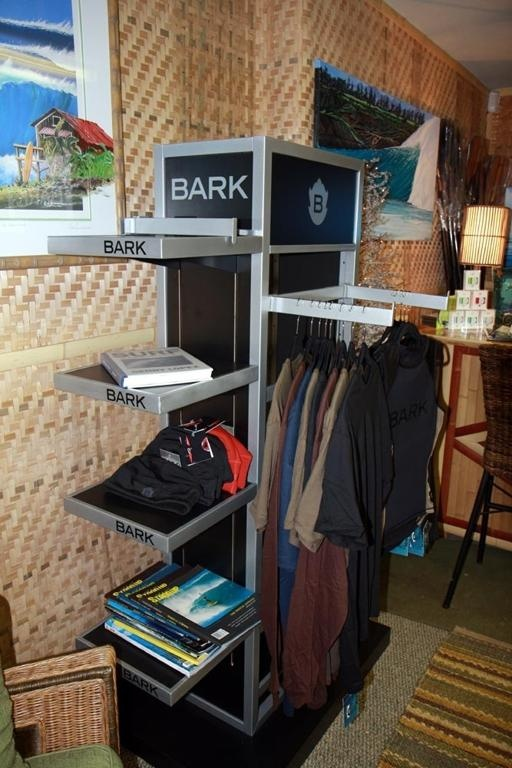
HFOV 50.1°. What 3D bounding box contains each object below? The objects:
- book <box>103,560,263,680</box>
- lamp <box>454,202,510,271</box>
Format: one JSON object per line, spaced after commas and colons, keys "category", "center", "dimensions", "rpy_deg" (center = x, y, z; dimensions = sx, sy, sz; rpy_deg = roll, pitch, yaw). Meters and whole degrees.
{"category": "book", "center": [-0.173, 0.635, 1.492], "dimensions": [0.210, 0.057, 0.228], "rpy_deg": [21, 16, 34]}
{"category": "lamp", "center": [1.762, -1.148, 4.277], "dimensions": [0.404, 0.512, 0.444], "rpy_deg": [1, 17, -1]}
